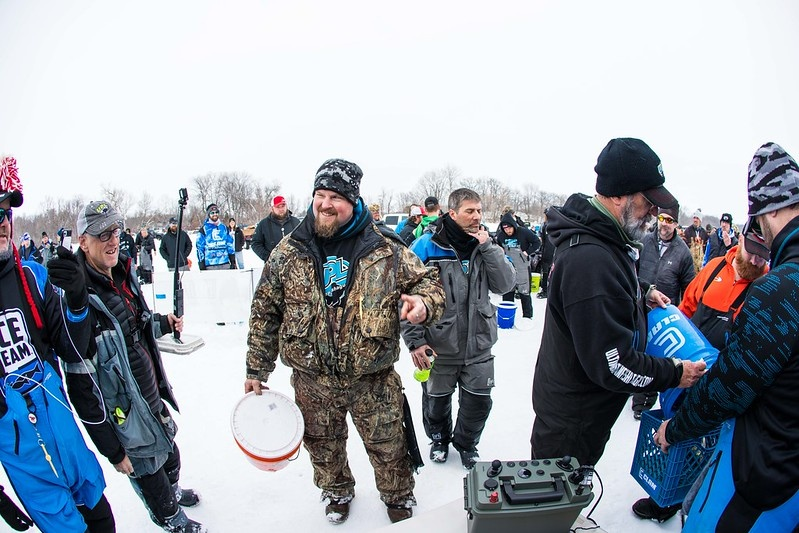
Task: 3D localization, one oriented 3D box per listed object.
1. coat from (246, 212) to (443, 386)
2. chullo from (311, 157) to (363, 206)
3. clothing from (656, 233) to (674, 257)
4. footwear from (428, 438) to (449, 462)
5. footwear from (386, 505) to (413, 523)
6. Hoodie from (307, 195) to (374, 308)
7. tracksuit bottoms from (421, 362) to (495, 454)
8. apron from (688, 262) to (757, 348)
[{"bbox_3d":[-0.451,0.213,4.357,1.681,1.443,0.934,-1,6,10],"label":"coat"},{"bbox_3d":[-0.496,-0.679,4.184,0.375,0.356,0.275,-1,4,-10],"label":"chullo"},{"bbox_3d":[3.159,-0.278,6.448,0.193,0.218,0.205,24,4,-16],"label":"clothing"},{"bbox_3d":[0.375,1.782,5.136,0.137,0.159,0.372,0,-14,4],"label":"footwear"},{"bbox_3d":[-0.003,2.058,4.448,0.220,0.116,0.167,0,4,0],"label":"footwear"},{"bbox_3d":[-0.495,-0.141,4.281,0.571,0.803,0.344,8,5,-16],"label":"Hoodie"},{"bbox_3d":[0.533,1.211,5.080,0.629,1.219,0.384,3,14,8],"label":"tracksuit bottoms"},{"bbox_3d":[2.612,0.302,4.275,0.282,0.537,0.484,21,13,-28],"label":"apron"}]
